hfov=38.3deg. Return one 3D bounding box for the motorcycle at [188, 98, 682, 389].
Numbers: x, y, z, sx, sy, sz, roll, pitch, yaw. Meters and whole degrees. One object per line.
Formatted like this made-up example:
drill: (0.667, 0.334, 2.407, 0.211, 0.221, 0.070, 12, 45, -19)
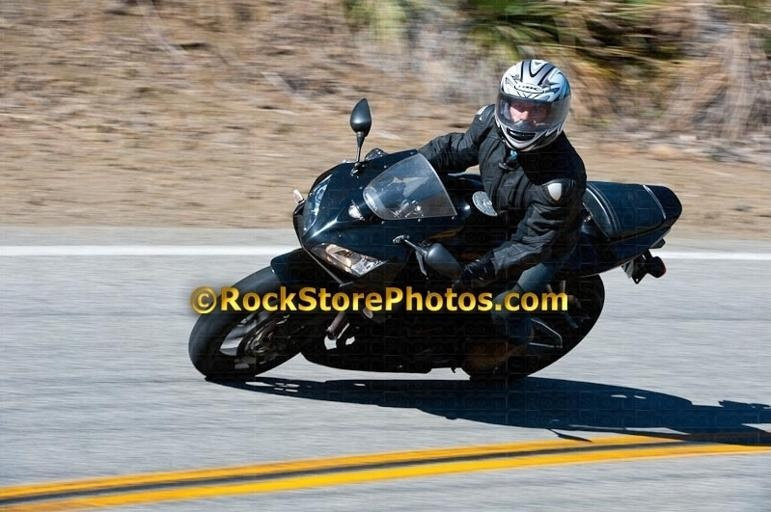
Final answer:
motorcycle: (0.242, 0.329, 8.648, 3.763, 1.205, 1.348, 2, 10, -34)
